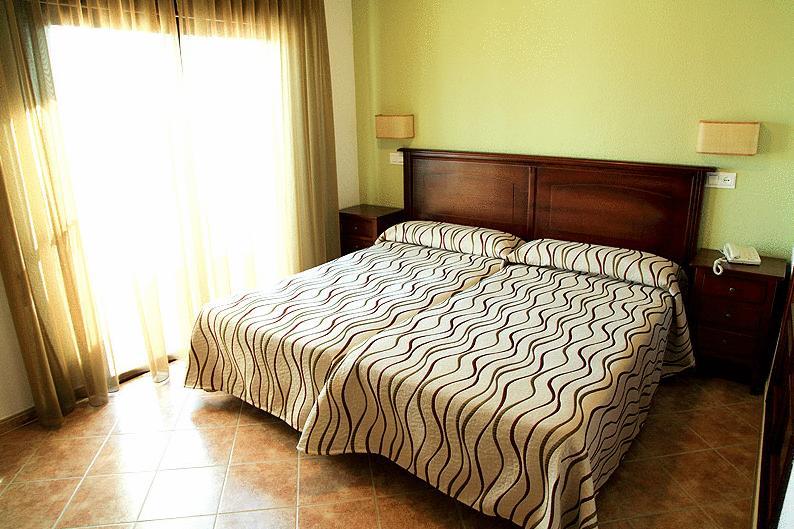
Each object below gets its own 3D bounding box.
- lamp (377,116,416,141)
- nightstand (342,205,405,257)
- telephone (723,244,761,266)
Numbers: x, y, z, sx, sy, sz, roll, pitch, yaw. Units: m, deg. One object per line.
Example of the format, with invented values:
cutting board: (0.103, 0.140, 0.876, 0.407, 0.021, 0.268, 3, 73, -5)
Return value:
lamp: (-0.005, -1.384, 5.425, 0.343, 0.245, 0.223, 11, 21, 33)
nightstand: (-0.248, -0.460, 5.679, 0.605, 0.735, 0.530, 15, 21, 41)
telephone: (2.609, -0.062, 4.083, 0.216, 0.066, 0.213, 11, 30, 33)
